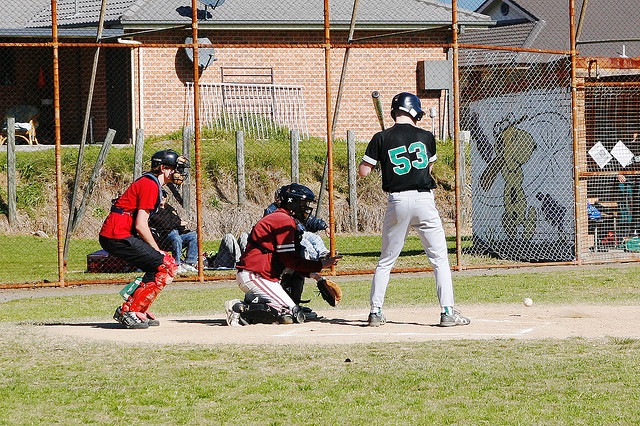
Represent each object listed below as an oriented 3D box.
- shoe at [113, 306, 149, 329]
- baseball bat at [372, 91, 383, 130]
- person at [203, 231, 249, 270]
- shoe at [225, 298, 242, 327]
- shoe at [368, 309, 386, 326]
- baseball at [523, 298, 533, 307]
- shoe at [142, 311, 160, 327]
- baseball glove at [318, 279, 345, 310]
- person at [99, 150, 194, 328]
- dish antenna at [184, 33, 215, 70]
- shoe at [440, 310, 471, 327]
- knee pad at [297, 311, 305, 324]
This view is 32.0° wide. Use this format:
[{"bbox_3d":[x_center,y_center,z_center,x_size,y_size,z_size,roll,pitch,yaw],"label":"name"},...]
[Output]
[{"bbox_3d":[-3.085,1.702,18.169,0.564,0.264,0.252,29,-33,8],"label":"shoe"},{"bbox_3d":[1.184,-2.085,22.580,0.124,0.936,0.136,-4,44,11],"label":"baseball bat"},{"bbox_3d":[-1.927,0.746,22.809,0.764,0.411,0.990,-1,-1,-11],"label":"person"},{"bbox_3d":[-1.434,1.617,18.307,0.269,0.443,0.263,0,0,-7],"label":"shoe"},{"bbox_3d":[0.939,1.680,17.993,0.363,0.256,0.165,0,0,-35],"label":"shoe"},{"bbox_3d":[3.525,1.502,19.025,0.135,0.138,0.139,-10,-1,30],"label":"baseball"},{"bbox_3d":[-2.809,1.721,18.302,0.195,0.248,0.579,2,-5,-9],"label":"shoe"},{"bbox_3d":[0.240,1.310,18.805,0.194,0.489,0.366,-39,25,-23],"label":"baseball glove"},{"bbox_3d":[-2.988,0.417,18.451,1.576,2.878,1.035,4,-1,-23],"label":"person"},{"bbox_3d":[-3.217,-4.381,29.564,0.787,0.987,1.669,0,0,-6],"label":"dish antenna"},{"bbox_3d":[2.171,1.681,17.989,0.520,0.237,0.185,-2,2,-25],"label":"shoe"},{"bbox_3d":[-0.321,1.689,18.341,0.127,0.193,0.057,0,0,-35],"label":"knee pad"}]
